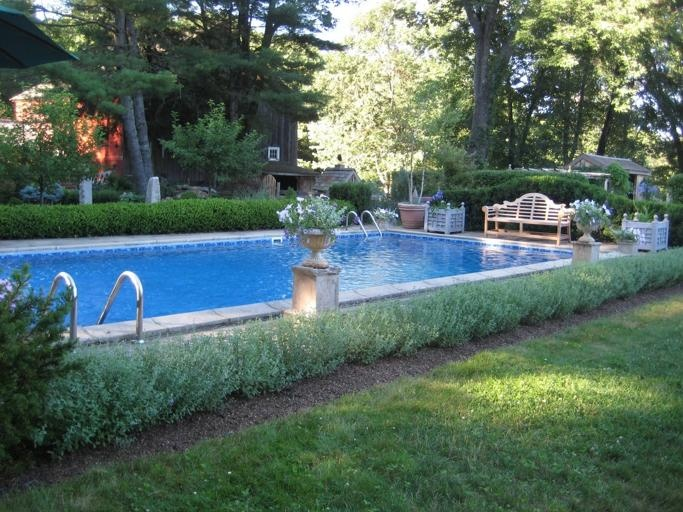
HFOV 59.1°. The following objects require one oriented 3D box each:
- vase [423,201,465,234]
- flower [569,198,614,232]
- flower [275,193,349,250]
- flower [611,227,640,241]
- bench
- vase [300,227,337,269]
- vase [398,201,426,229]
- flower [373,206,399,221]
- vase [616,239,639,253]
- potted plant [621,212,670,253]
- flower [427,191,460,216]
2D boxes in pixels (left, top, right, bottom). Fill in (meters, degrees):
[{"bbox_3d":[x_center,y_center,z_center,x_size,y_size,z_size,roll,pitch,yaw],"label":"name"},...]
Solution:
[{"bbox_3d":[3.194,-1.191,18.639,0.949,1.034,0.956,-5,8,-38],"label":"vase"},{"bbox_3d":[5.107,-0.700,12.465,0.667,0.778,0.679,4,-3,32],"label":"flower"},{"bbox_3d":[-0.354,-0.455,8.204,0.830,1.057,0.979,-6,-8,8],"label":"flower"},{"bbox_3d":[6.753,-0.506,14.407,0.414,0.273,0.423,-2,4,-31],"label":"flower"},{"bbox_3d":[5.280,-1.077,16.891,2.633,1.340,1.972,6,7,38],"label":"bench"},{"bbox_3d":[-0.317,-0.116,8.125,0.587,0.580,0.580,2,8,36],"label":"vase"},{"bbox_3d":[2.294,-1.329,19.574,0.721,0.611,0.774,1,2,-5],"label":"vase"},{"bbox_3d":[1.427,-1.384,20.207,0.635,0.428,0.654,-2,5,-24],"label":"flower"},{"bbox_3d":[6.760,-0.206,14.316,0.325,0.273,0.331,-3,5,-34],"label":"vase"},{"bbox_3d":[7.641,-0.541,15.023,0.892,0.833,0.923,-4,5,-22],"label":"potted plant"},{"bbox_3d":[3.149,-1.640,18.838,0.763,0.377,0.763,-7,10,-42],"label":"flower"}]
